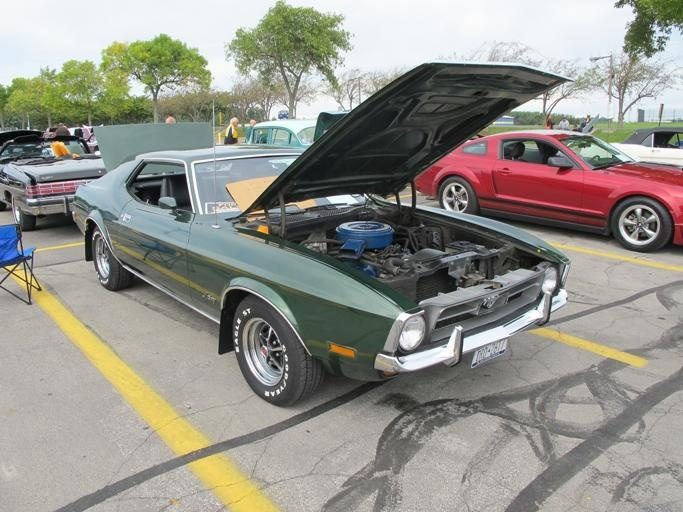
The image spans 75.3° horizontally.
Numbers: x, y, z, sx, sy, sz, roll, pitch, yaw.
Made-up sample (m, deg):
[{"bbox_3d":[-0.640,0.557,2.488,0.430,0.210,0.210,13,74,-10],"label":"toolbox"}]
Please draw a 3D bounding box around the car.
[{"bbox_3d":[-0.703,-0.606,4.721,2.695,2.037,5.274,-19,27,-41],"label":"car"}]
